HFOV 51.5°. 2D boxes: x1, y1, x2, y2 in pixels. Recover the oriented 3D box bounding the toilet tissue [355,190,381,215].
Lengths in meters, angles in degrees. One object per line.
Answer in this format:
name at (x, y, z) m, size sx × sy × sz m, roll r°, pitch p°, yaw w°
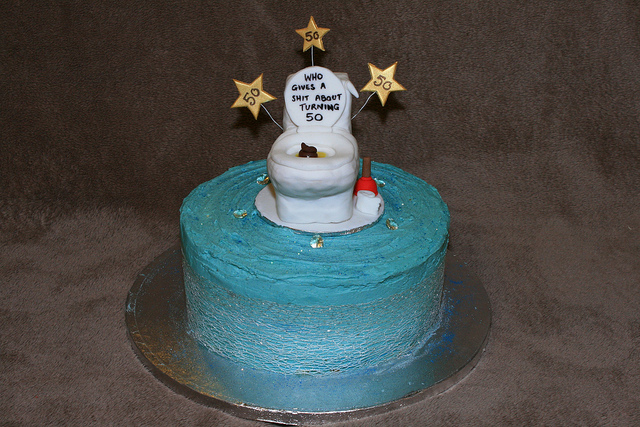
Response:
toilet tissue at (0.341, -0.070, 4.405) m, size 0.191 × 0.124 × 0.159 m, roll 7°, pitch 13°, yaw 6°
